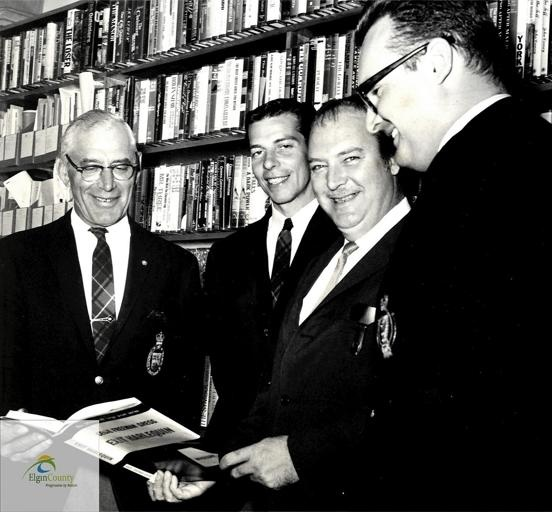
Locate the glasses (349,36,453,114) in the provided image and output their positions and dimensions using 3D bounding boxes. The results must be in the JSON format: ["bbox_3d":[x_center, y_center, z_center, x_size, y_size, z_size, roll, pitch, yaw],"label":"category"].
[{"bbox_3d":[0.266,-0.380,1.466,0.153,0.041,0.144,-35,-1,17],"label":"glasses"}]

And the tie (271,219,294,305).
[{"bbox_3d":[0.029,0.017,2.371,0.049,0.302,0.024,0,-41,16],"label":"tie"}]

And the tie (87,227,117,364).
[{"bbox_3d":[-0.540,0.134,2.214,0.073,0.388,0.073,-3,-13,-3],"label":"tie"}]

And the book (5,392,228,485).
[{"bbox_3d":[-0.379,0.442,1.631,0.244,0.218,0.536,-14,-15,43],"label":"book"}]
